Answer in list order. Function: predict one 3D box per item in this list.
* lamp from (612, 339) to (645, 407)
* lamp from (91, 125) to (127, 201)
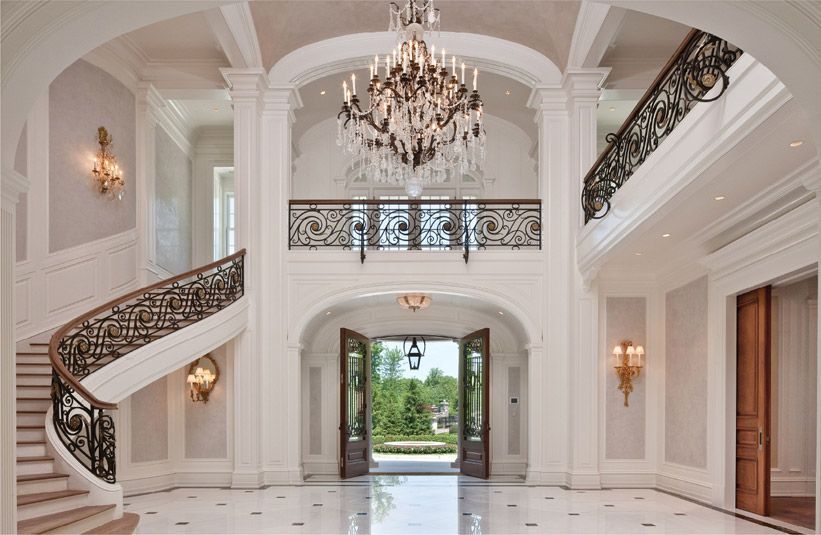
[{"bbox_3d":[4.303,2.111,11.282,0.569,1.279,0.395,-2,-14,6],"label":"lamp"},{"bbox_3d":[-6.014,-2.061,11.386,0.243,1.296,0.742,-3,-14,11],"label":"lamp"}]
